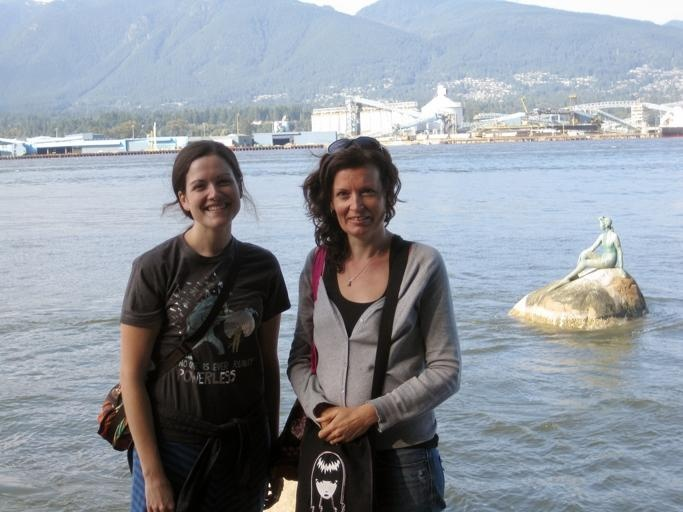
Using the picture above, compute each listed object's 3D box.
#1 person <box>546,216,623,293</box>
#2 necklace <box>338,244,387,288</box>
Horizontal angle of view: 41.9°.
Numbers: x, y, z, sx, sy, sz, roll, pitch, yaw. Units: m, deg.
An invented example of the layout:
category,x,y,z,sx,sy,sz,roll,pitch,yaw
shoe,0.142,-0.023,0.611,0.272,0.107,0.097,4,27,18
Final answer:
category,x,y,z,sx,sy,sz,roll,pitch,yaw
person,3.224,-0.056,12.044,1.065,0.776,0.407,-9,3,10
necklace,0.121,0.078,5.446,0.268,0.278,0.081,21,-8,44
